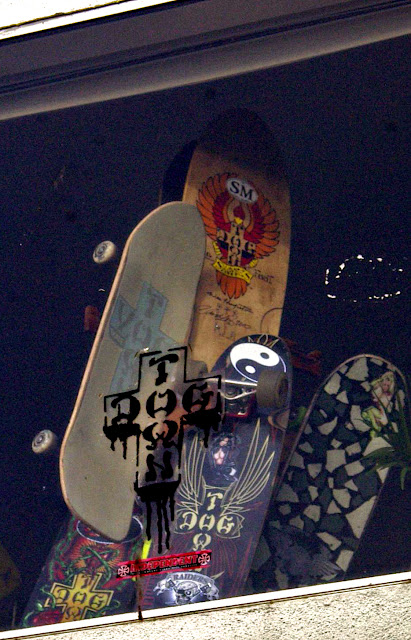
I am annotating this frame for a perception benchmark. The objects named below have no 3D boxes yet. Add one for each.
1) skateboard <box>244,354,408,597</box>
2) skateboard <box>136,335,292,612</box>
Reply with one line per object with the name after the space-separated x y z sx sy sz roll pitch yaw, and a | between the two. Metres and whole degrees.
0.691 0.827 3.439 0.475 1.614 0.240 27 -11 4 | skateboard
0.042 0.918 3.256 0.524 1.829 0.282 5 24 -3 | skateboard
